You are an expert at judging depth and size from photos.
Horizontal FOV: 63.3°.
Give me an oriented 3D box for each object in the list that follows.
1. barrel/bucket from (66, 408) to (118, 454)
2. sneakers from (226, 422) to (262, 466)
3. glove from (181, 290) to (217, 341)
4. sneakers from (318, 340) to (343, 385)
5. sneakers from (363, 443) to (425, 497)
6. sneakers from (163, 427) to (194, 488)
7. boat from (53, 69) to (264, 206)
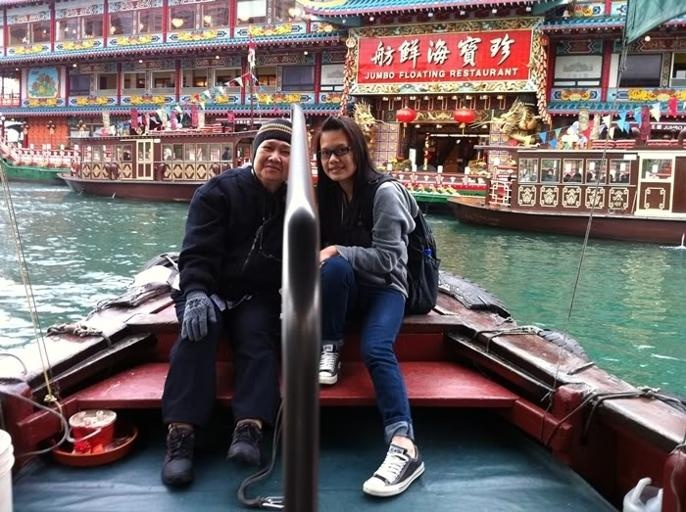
[{"bbox_3d":[-1.147,0.798,2.518,0.215,0.116,0.326,1,4,-5],"label":"barrel/bucket"},{"bbox_3d":[-0.431,0.820,2.443,0.149,0.164,0.144,-3,11,-11],"label":"sneakers"},{"bbox_3d":[-0.686,0.283,2.666,0.128,0.075,0.243,-3,47,-6],"label":"glove"},{"bbox_3d":[-0.024,0.534,2.728,0.102,0.152,0.332,1,-4,4],"label":"sneakers"},{"bbox_3d":[0.228,0.921,2.422,0.122,0.136,0.328,-2,-2,32],"label":"sneakers"},{"bbox_3d":[-0.718,0.857,2.415,0.143,0.212,0.188,-4,11,-16],"label":"sneakers"},{"bbox_3d":[-7.064,-3.652,21.919,8.612,2.427,2.855,6,14,22],"label":"boat"}]
